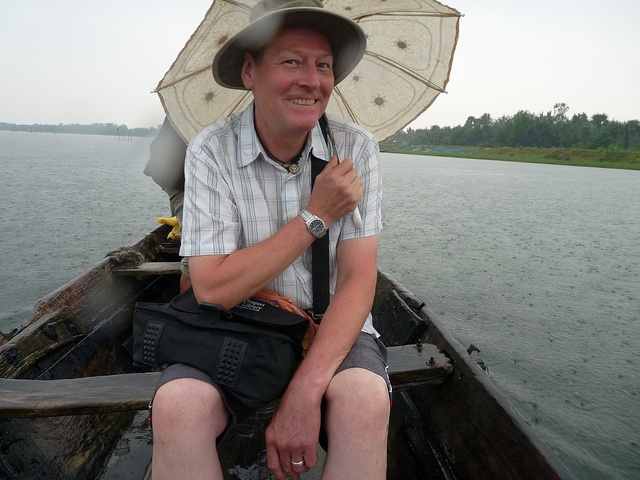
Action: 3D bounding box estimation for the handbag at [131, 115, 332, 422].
[{"bbox_3d":[-0.426,0.220,2.500,0.919,1.791,0.579,3,-27,8],"label":"handbag"}]
